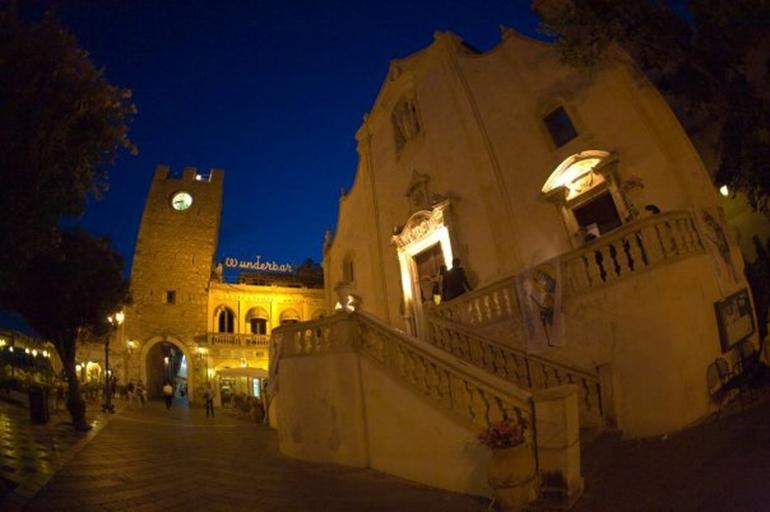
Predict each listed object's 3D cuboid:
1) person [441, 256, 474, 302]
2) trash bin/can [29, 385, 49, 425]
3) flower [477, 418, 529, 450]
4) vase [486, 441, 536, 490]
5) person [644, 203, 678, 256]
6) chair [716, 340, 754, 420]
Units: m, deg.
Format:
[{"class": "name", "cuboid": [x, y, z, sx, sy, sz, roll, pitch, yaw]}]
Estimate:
[{"class": "person", "cuboid": [2.071, 0.631, 15.574, 0.714, 1.312, 1.653, 2, -9, 3]}, {"class": "trash bin/can", "cuboid": [-10.394, 4.457, 16.019, 0.669, 0.971, 0.690, -10, -3, 31]}, {"class": "flower", "cuboid": [2.249, 3.187, 9.985, 0.727, 0.384, 0.729, -20, -22, 25]}, {"class": "vase", "cuboid": [2.244, 3.874, 9.805, 0.717, 0.840, 0.792, -20, -31, 31]}, {"class": "person", "cuboid": [6.118, -0.537, 11.842, 0.357, 1.292, 0.307, 6, -18, -36]}, {"class": "chair", "cuboid": [7.430, 2.709, 11.380, 1.415, 0.589, 0.423, -37, 21, -20]}]
